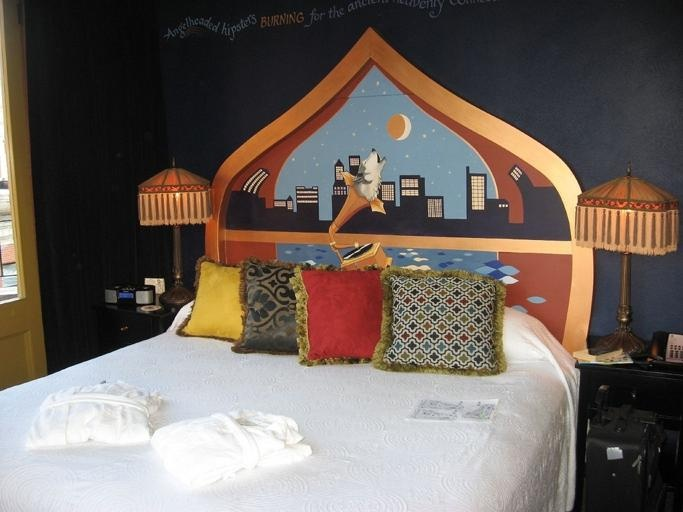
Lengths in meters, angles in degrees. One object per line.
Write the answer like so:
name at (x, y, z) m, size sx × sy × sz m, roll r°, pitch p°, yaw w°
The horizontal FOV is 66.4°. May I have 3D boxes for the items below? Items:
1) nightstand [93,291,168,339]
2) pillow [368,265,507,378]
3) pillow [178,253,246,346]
nightstand at (-1.444, 0.445, 3.614) m, size 0.521 × 0.398 × 0.319 m, roll 1°, pitch 2°, yaw 10°
pillow at (0.558, 0.417, 3.016) m, size 0.534 × 0.571 × 0.168 m, roll 2°, pitch -20°, yaw 6°
pillow at (-0.743, 0.295, 3.157) m, size 0.426 × 0.458 × 0.132 m, roll 2°, pitch -6°, yaw 41°
